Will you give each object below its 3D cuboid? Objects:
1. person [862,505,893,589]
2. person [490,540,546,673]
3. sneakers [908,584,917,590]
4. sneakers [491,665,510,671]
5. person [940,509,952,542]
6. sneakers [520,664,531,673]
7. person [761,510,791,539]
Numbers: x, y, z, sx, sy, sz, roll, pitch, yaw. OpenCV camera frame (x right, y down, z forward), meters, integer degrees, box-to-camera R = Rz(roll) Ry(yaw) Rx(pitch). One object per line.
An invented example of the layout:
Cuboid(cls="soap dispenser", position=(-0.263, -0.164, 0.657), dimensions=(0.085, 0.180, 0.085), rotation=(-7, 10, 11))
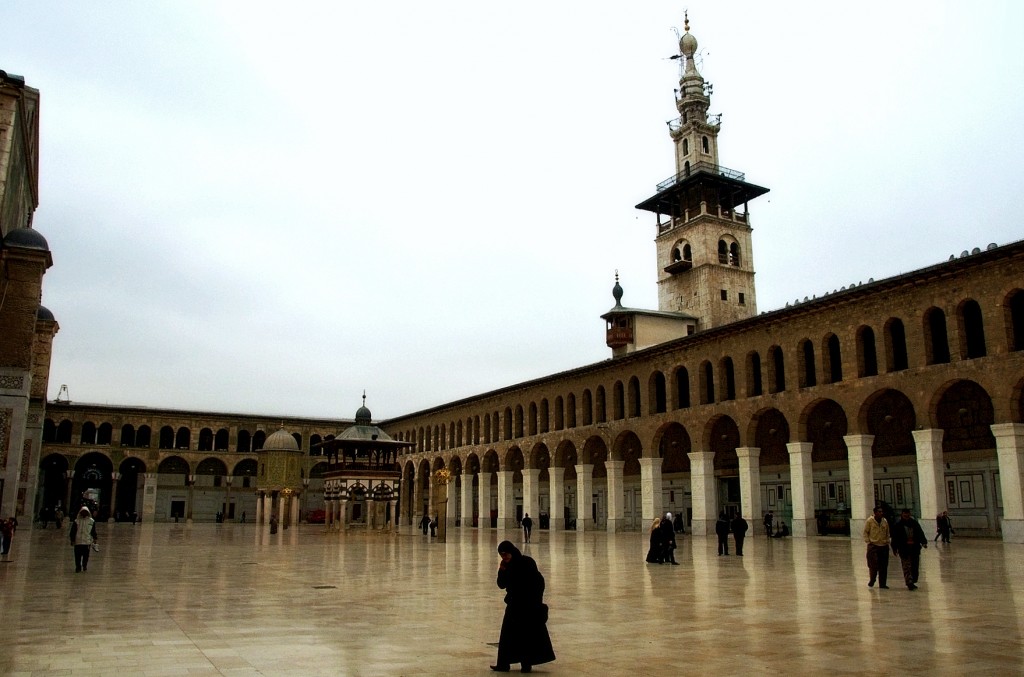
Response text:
Cuboid(cls="person", position=(8.696, 4.924, 18.912), dimensions=(0.609, 1.922, 1.128), rotation=(-8, -20, 24))
Cuboid(cls="person", position=(0.196, 4.157, 12.437), dimensions=(0.938, 1.928, 0.701), rotation=(-1, -18, 4))
Cuboid(cls="sneakers", position=(9.079, 5.630, 18.023), dimensions=(0.215, 0.162, 0.688), rotation=(-8, -20, 24))
Cuboid(cls="sneakers", position=(-0.159, 4.970, 11.988), dimensions=(0.296, 0.099, 0.227), rotation=(-3, -19, 9))
Cuboid(cls="person", position=(16.603, 7.268, 30.615), dimensions=(0.394, 1.218, 1.165), rotation=(-7, -20, 22))
Cuboid(cls="sneakers", position=(0.231, 4.973, 11.990), dimensions=(0.125, 0.119, 0.115), rotation=(6, -20, -15))
Cuboid(cls="person", position=(13.069, 9.228, 39.293), dimensions=(0.744, 1.231, 1.283), rotation=(7, -7, -43))
